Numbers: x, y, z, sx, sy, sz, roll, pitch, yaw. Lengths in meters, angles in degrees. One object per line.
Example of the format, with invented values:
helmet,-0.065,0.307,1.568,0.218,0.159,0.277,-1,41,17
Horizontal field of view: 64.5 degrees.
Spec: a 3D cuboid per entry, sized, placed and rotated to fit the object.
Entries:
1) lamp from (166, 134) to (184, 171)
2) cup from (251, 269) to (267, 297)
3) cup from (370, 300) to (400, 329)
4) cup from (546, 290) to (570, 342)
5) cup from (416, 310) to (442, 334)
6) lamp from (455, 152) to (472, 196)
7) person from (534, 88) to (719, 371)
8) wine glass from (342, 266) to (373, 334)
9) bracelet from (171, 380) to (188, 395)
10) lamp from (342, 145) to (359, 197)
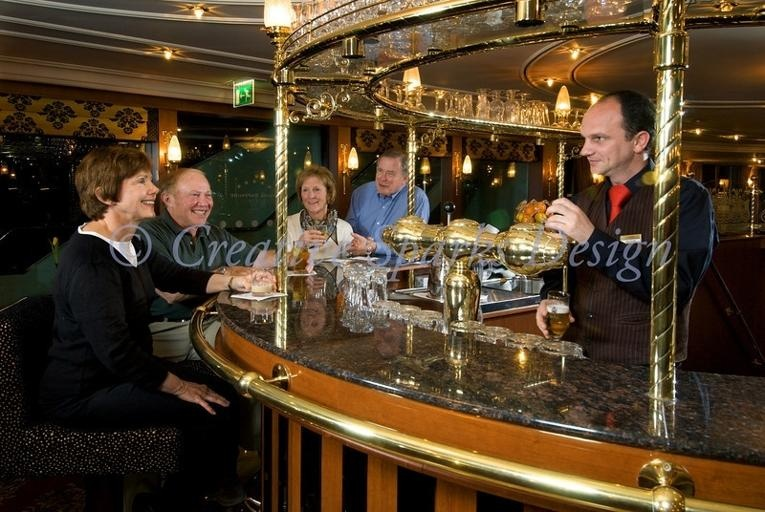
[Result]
lamp,-2.701,-1.345,7.867,0.208,0.444,0.210,-10,-13,34
cup,-0.676,0.154,3.304,0.108,0.168,0.103,0,-11,0
cup,0.007,0.263,2.687,0.109,0.069,0.113,-1,4,0
cup,0.773,0.271,2.687,0.121,0.211,0.117,-1,14,0
cup,0.205,0.284,2.674,0.089,0.064,0.067,5,5,43
lamp,1.614,-1.601,12.183,0.221,0.849,0.220,13,11,24
person,1.117,-0.106,2.739,0.763,1.283,1.007,4,9,15
wine glass,-0.107,0.199,2.646,0.114,0.252,0.266,1,1,-6
bracelet,-1.057,0.689,3.161,0.072,0.070,0.031,5,3,-26
lamp,-0.554,-1.401,10.210,0.211,0.859,0.195,2,7,-9
